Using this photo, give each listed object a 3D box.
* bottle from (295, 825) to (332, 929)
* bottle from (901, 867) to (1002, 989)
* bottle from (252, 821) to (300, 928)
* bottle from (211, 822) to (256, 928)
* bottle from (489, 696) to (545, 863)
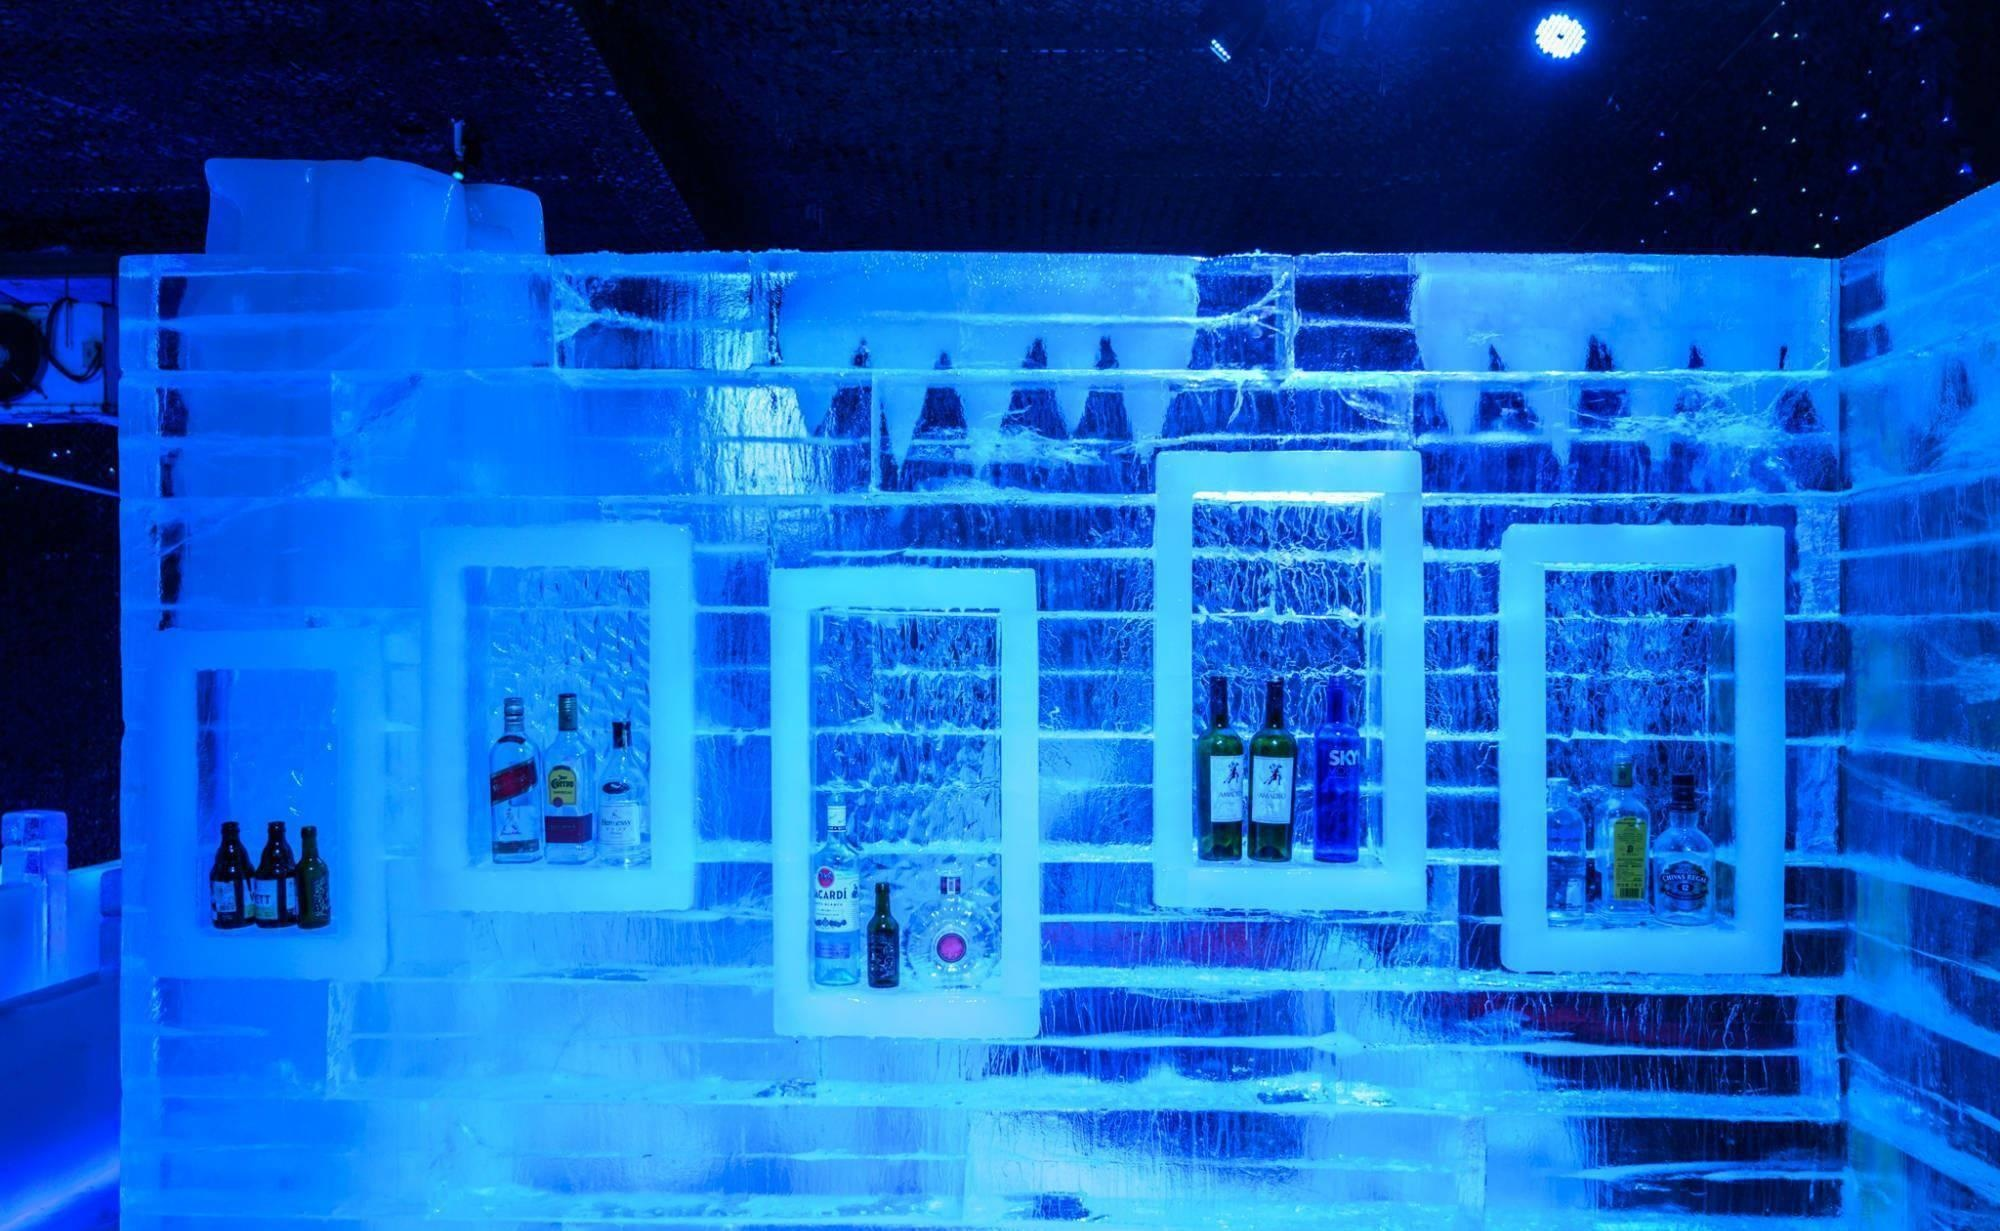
[{"bbox_3d":[-1.517,0.580,4.999,0.071,0.187,0.128,3,30,-17],"label":"bottle"},{"bbox_3d":[-0.106,0.733,5.018,0.233,0.080,0.315,4,37,12],"label":"bottle"},{"bbox_3d":[-1.600,0.572,4.987,0.101,0.202,0.121,2,30,-19],"label":"bottle"},{"bbox_3d":[-1.693,0.574,4.977,0.089,0.213,0.111,2,30,-19],"label":"bottle"},{"bbox_3d":[-1.062,0.368,4.975,0.127,0.324,0.189,4,30,-16],"label":"bottle"}]
